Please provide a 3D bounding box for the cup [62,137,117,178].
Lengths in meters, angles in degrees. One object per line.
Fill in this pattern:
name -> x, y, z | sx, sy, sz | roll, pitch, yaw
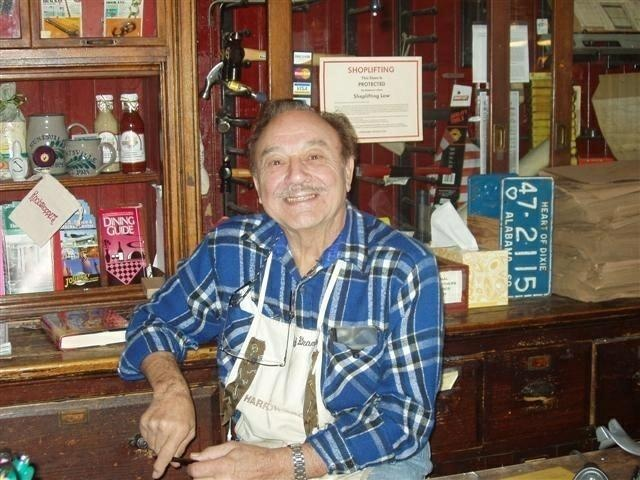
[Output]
cup -> -0.932, -0.343, 2.509 | 0.199, 0.145, 0.128 | -1, 4, -24
